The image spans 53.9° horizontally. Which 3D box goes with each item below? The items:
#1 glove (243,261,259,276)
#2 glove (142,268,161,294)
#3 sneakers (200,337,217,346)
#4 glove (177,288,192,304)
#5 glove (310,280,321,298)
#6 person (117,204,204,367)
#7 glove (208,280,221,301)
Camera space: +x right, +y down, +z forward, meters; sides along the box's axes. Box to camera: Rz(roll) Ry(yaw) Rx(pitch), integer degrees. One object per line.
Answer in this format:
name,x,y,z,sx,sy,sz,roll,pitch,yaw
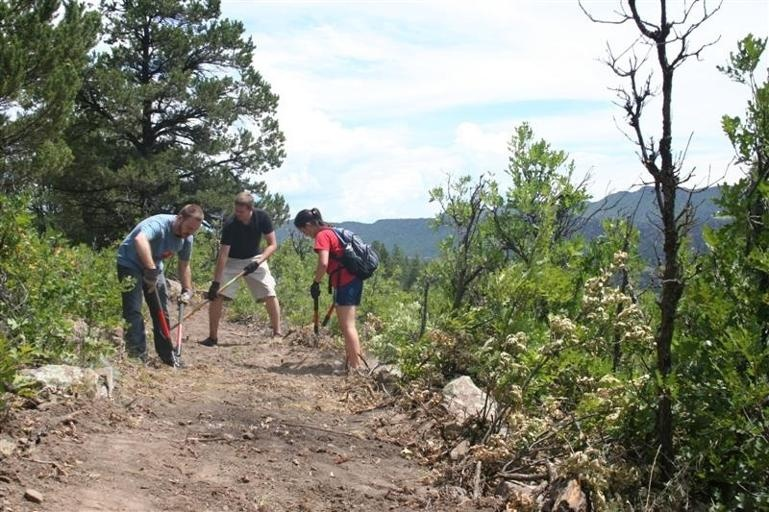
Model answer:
glove,-2.511,0.250,14.398,0.272,0.272,0.331,3,-2,-8
glove,-3.701,0.403,12.194,0.328,0.275,0.265,11,6,26
sneakers,-3.354,1.674,14.631,0.275,0.129,0.155,4,-4,7
glove,-3.690,0.757,14.072,0.233,0.337,0.159,33,-21,-6
glove,-1.274,0.629,14.198,0.168,0.157,0.381,-2,-22,-8
person,-3.775,0.477,12.580,1.245,2.744,1.088,3,-1,-29
glove,-3.165,0.622,14.068,0.093,0.247,0.313,14,37,10
